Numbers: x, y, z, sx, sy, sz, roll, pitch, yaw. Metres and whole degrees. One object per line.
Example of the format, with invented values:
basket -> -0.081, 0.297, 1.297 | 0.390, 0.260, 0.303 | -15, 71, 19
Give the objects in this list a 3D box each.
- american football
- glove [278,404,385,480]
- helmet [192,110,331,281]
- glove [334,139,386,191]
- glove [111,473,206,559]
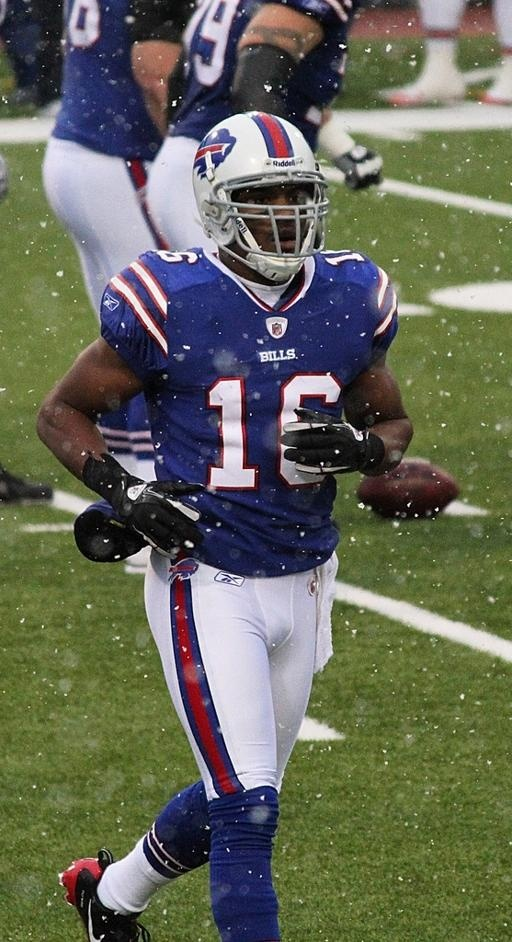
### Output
american football -> 0.512, 0.059, 3.538 | 0.266, 0.205, 0.177 | 3, 99, 4
glove -> 0.119, -0.043, 1.621 | 0.057, 0.144, 0.088 | -23, 80, 22
helmet -> 0.012, -0.431, 1.676 | 0.203, 0.284, 0.292 | -10, 111, -31
glove -> 0.390, -1.129, 3.951 | 0.120, 0.214, 0.085 | 23, 93, -23
glove -> -0.137, 0.055, 1.536 | 0.098, 0.037, 0.127 | -37, 74, -30
